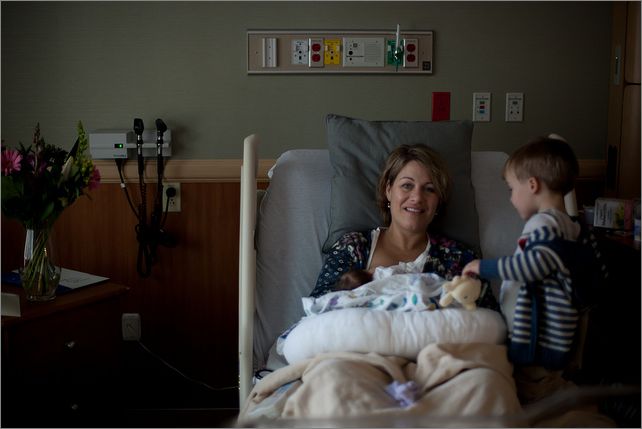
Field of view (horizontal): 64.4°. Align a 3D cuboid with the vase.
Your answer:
[{"bbox_3d":[-1.267,0.225,2.288,0.157,0.330,0.071,-6,10,-32],"label":"vase"}]
